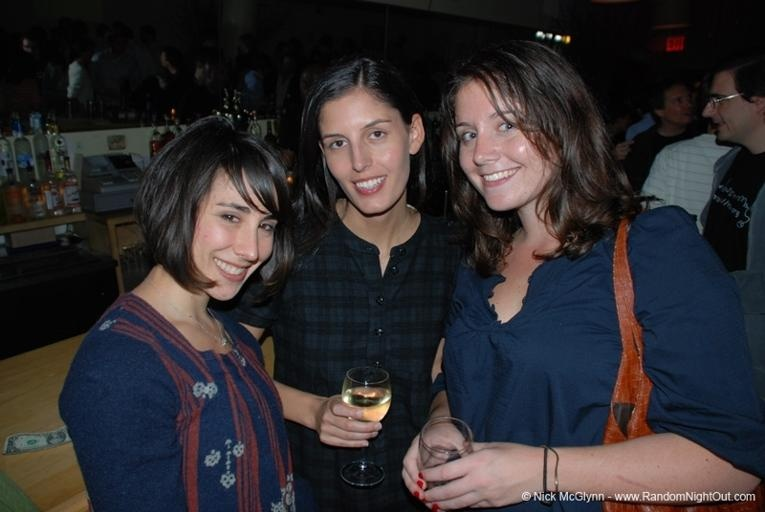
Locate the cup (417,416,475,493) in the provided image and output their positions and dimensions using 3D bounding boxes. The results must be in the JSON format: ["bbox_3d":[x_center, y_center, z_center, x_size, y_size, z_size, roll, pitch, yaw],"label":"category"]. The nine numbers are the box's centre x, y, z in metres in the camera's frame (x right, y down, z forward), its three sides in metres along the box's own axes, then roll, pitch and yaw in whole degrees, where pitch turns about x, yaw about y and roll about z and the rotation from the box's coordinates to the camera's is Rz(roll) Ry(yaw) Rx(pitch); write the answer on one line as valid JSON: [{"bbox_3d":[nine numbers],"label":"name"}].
[{"bbox_3d":[0.254,0.762,2.424,0.213,0.176,0.128,0,17,7],"label":"cup"}]

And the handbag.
[{"bbox_3d":[1.075,0.456,2.340,0.516,1.072,0.662,-11,19,-27],"label":"handbag"}]

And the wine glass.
[{"bbox_3d":[-0.076,0.772,2.721,0.256,0.589,0.188,-6,18,-13],"label":"wine glass"}]

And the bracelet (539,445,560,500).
[{"bbox_3d":[0.659,0.871,2.382,0.069,0.174,0.137,3,-20,1],"label":"bracelet"}]
